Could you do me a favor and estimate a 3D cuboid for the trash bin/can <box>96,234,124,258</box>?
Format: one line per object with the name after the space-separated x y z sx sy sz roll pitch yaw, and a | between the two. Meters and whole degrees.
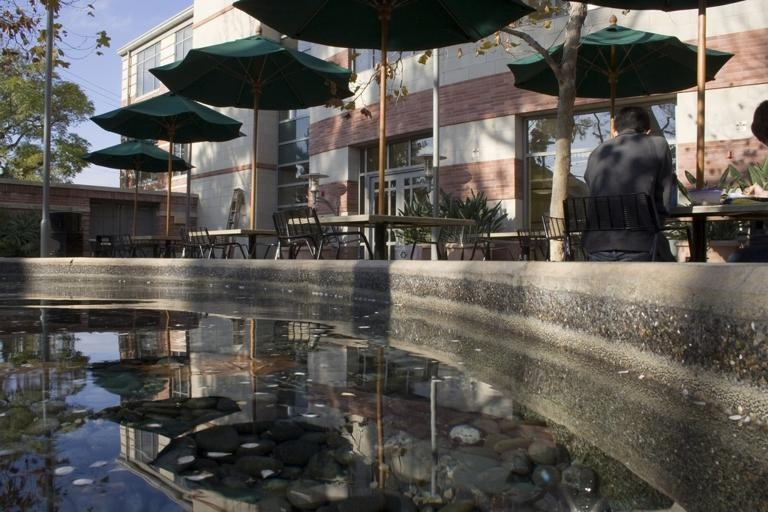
-6.839 -0.251 16.713 0.589 0.739 0.738 2 7 -6 | trash bin/can

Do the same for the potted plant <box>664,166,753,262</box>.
3.385 -0.394 6.979 1.307 0.900 0.844 2 9 19 | potted plant

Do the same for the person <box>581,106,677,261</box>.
1.978 -0.603 5.413 0.619 1.273 0.621 0 3 -11 | person
